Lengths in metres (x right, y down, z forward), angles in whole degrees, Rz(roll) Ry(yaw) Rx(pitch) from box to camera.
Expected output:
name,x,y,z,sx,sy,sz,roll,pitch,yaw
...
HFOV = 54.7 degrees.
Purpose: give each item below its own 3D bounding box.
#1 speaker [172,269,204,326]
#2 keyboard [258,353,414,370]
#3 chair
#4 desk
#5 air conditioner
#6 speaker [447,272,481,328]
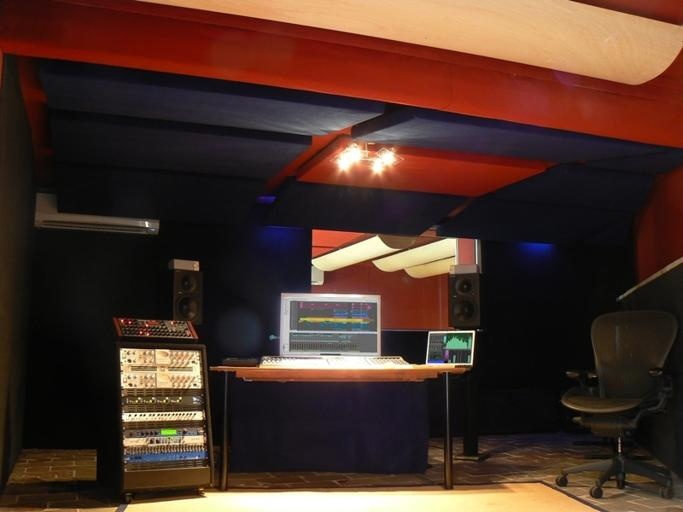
name,x,y,z,sx,sy,sz,roll,pitch,yaw
speaker,-1.495,0.385,6.431,0.267,0.529,0.239,1,-1,-18
keyboard,-0.043,0.835,5.239,1.181,0.058,0.419,1,-2,-2
chair,2.336,1.184,5.511,0.940,1.458,0.962,0,-1,17
desk,-0.046,1.367,5.451,2.027,1.037,0.915,1,-1,-11
air conditioner,-2.599,-0.458,7.038,1.210,0.429,0.147,1,-1,-10
speaker,1.278,0.428,6.716,0.360,0.521,0.345,-1,-3,8
